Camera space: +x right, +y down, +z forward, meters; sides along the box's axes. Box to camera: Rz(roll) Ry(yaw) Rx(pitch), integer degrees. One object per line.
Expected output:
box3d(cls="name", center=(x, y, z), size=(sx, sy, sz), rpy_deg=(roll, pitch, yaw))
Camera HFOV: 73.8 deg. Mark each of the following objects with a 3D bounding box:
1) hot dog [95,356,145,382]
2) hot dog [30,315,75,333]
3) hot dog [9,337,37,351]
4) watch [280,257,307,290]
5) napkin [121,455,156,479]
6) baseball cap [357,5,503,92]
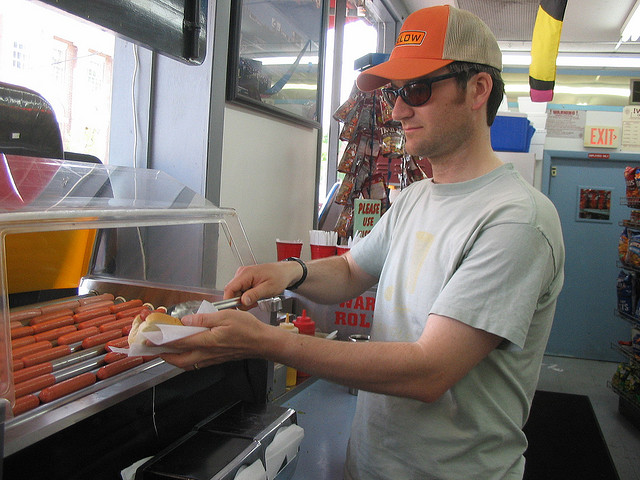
box3d(cls="hot dog", center=(-0.534, 0.333, 1.136), size=(0.043, 0.033, 0.139), rpy_deg=(5, 8, 28))
box3d(cls="hot dog", center=(-0.768, 0.236, 1.210), size=(0.022, 0.027, 0.111), rpy_deg=(-5, 0, 33))
box3d(cls="hot dog", center=(-0.758, 0.262, 1.083), size=(0.052, 0.017, 0.057), rpy_deg=(-3, 9, -36))
box3d(cls="watch", center=(-0.087, 0.104, 1.412), size=(0.092, 0.093, 0.028), rpy_deg=(20, 32, 41))
box3d(cls="napkin", center=(-0.453, 0.557, 1.053), size=(0.058, 0.036, 0.073), rpy_deg=(6, 8, 31))
box3d(cls="baseball cap", center=(0.326, -0.538, 1.165), size=(0.372, 0.217, 0.118), rpy_deg=(2, 6, 5))
